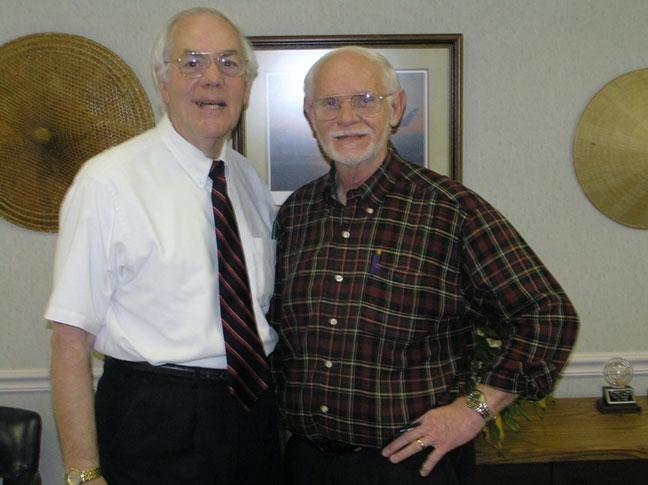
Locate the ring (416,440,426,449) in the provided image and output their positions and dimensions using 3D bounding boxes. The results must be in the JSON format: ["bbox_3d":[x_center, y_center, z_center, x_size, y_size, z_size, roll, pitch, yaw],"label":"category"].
[{"bbox_3d":[0.294,0.623,1.818,0.025,0.025,0.028,23,-2,31],"label":"ring"}]

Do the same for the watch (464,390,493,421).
[{"bbox_3d":[0.483,0.514,1.848,0.052,0.077,0.073,-40,22,2],"label":"watch"}]

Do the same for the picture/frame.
[{"bbox_3d":[0.119,-0.540,2.749,1.298,0.791,0.029,-10,18,-26],"label":"picture/frame"}]
